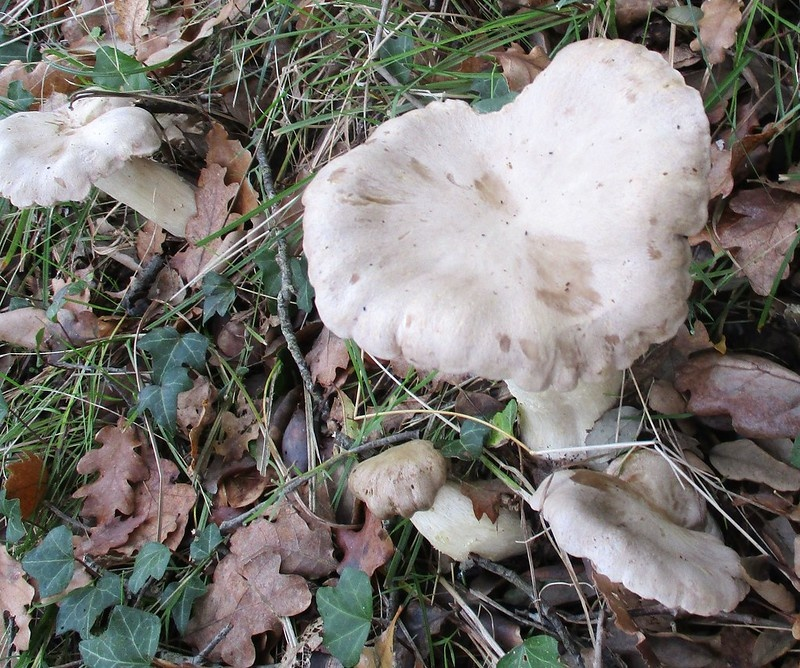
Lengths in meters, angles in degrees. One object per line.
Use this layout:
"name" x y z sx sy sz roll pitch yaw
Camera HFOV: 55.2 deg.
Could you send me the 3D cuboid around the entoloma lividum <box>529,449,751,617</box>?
"entoloma lividum" 1.018 0.815 3.173 0.574 0.371 0.813 -41 78 -3
